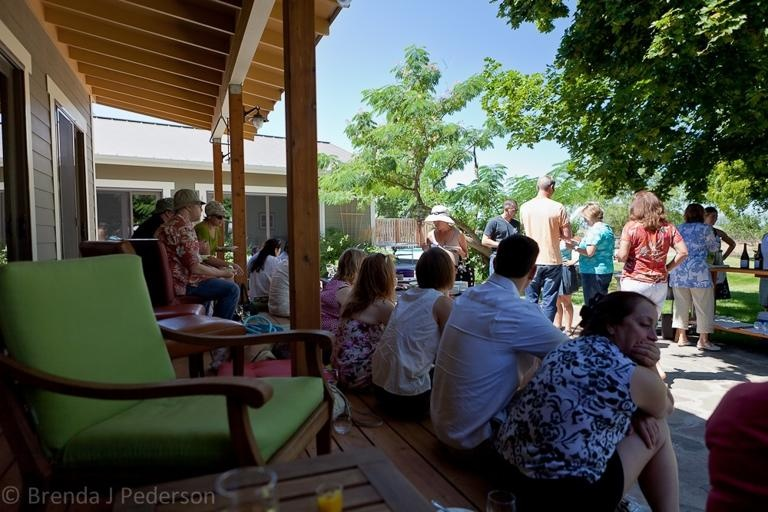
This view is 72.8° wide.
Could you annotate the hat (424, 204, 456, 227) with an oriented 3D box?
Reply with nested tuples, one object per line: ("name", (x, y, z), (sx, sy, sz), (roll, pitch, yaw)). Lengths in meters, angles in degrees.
("hat", (0.775, -0.531, 6.871), (0.302, 0.179, 0.348), (2, -9, 22))

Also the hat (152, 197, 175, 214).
("hat", (-2.621, -0.592, 6.145), (0.274, 0.136, 0.197), (-8, 5, 4))

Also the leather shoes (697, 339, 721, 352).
("leather shoes", (3.970, 1.085, 6.353), (0.252, 0.098, 0.139), (0, 2, -1))

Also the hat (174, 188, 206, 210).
("hat", (-2.251, -0.656, 5.922), (0.229, 0.161, 0.316), (2, 7, 28))

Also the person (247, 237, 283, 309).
("person", (-1.594, 0.182, 7.024), (0.479, 0.842, 0.605), (7, 17, -4))
